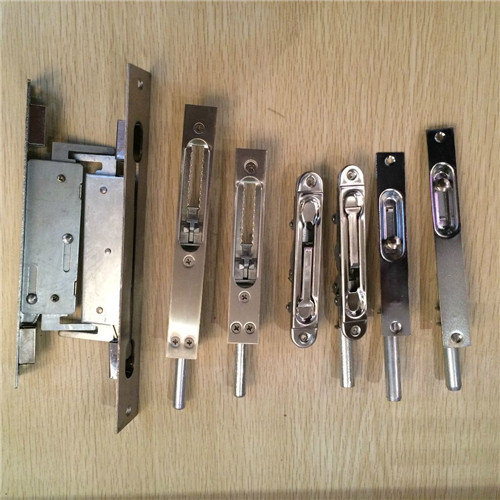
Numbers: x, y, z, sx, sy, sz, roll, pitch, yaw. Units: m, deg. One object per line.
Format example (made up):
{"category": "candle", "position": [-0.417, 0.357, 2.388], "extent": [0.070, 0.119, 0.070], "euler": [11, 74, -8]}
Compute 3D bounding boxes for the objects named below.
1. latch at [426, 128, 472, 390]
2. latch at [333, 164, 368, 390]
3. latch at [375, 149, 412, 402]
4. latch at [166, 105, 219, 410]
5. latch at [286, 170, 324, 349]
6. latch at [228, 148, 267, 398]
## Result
{"category": "latch", "position": [0.448, 0.002, 1.439], "extent": [0.066, 0.745, 0.158], "euler": [1, 0, 0]}
{"category": "latch", "position": [0.216, 0.068, 1.448], "extent": [0.059, 0.524, 0.125], "euler": [-1, 3, 0]}
{"category": "latch", "position": [0.320, 0.046, 1.437], "extent": [0.063, 0.612, 0.116], "euler": [-1, 2, -1]}
{"category": "latch", "position": [-0.134, 0.018, 1.436], "extent": [0.098, 0.668, 0.113], "euler": [2, -3, -10]}
{"category": "latch", "position": [0.127, 0.013, 1.406], "extent": [0.062, 0.408, 0.079], "euler": [-1, 4, -2]}
{"category": "latch", "position": [-0.007, 0.052, 1.437], "extent": [0.077, 0.545, 0.084], "euler": [1, -3, 1]}
